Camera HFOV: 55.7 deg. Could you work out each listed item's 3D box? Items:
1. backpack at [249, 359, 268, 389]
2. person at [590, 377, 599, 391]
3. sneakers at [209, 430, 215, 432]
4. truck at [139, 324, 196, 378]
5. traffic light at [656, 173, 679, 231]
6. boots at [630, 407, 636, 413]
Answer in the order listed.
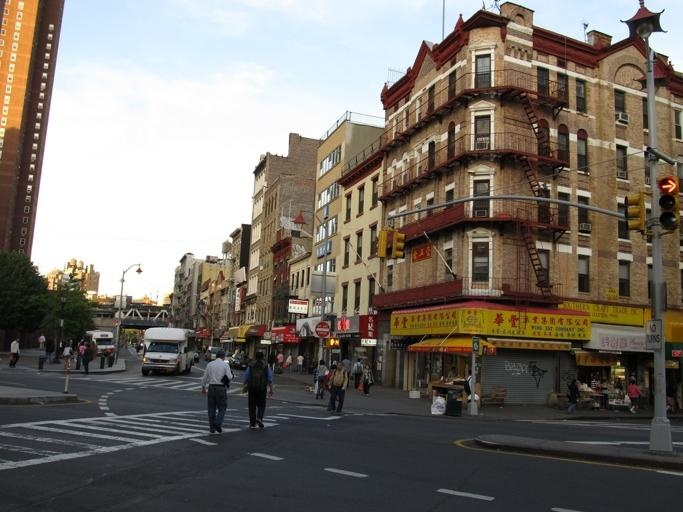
[{"bbox_3d":[-2.474,3.493,19.082,0.626,0.868,0.408,5,-13,-15],"label":"backpack"},{"bbox_3d":[14.415,7.250,37.012,0.419,0.739,0.835,-6,-15,35],"label":"person"},{"bbox_3d":[-3.555,4.798,17.735,0.129,0.126,0.071,0,-7,4],"label":"sneakers"},{"bbox_3d":[-12.620,6.947,47.299,3.435,3.862,9.096,5,-13,-13],"label":"truck"},{"bbox_3d":[8.680,-1.430,17.217,0.467,1.555,0.610,-3,-13,25],"label":"traffic light"},{"bbox_3d":[15.661,8.284,34.964,0.274,0.264,0.482,5,-8,26],"label":"boots"}]
